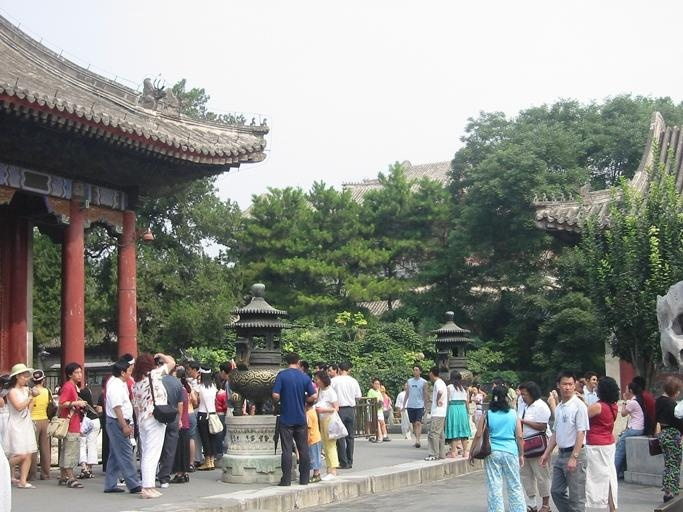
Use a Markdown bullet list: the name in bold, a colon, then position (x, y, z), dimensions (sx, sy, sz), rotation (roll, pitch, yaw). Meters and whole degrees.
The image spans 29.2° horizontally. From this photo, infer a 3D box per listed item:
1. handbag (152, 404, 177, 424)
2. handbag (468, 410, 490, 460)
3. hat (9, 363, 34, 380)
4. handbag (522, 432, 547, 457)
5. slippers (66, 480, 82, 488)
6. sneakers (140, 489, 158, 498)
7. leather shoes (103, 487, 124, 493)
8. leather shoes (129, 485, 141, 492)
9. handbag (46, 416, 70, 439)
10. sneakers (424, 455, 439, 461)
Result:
- **handbag**: position (-3.403, 3.104, 25.431), dimensions (0.357, 0.264, 0.384), rotation (3, -45, 3)
- **handbag**: position (2.557, 3.330, 24.239), dimensions (0.388, 0.883, 0.246), rotation (-3, -11, 6)
- **hat**: position (-6.363, 2.280, 25.938), dimensions (0.410, 0.162, 0.437), rotation (3, -22, -44)
- **handbag**: position (3.675, 3.604, 25.005), dimensions (0.392, 0.360, 0.216), rotation (-21, -32, 25)
- **slippers**: position (-5.324, 4.578, 26.245), dimensions (0.244, 0.082, 0.142), rotation (-3, -3, 34)
- **sneakers**: position (-3.681, 4.598, 25.208), dimensions (0.293, 0.188, 0.134), rotation (-1, -5, 7)
- **leather shoes**: position (-4.476, 4.629, 25.855), dimensions (0.385, 0.142, 0.134), rotation (-2, -2, -5)
- **leather shoes**: position (-4.026, 4.591, 25.638), dimensions (0.266, 0.141, 0.086), rotation (-5, -12, 18)
- **handbag**: position (-5.710, 3.484, 26.559), dimensions (0.450, 0.422, 0.224), rotation (-3, -42, 20)
- **sneakers**: position (2.030, 4.576, 29.612), dimensions (0.219, 0.083, 0.123), rotation (5, -5, 5)
